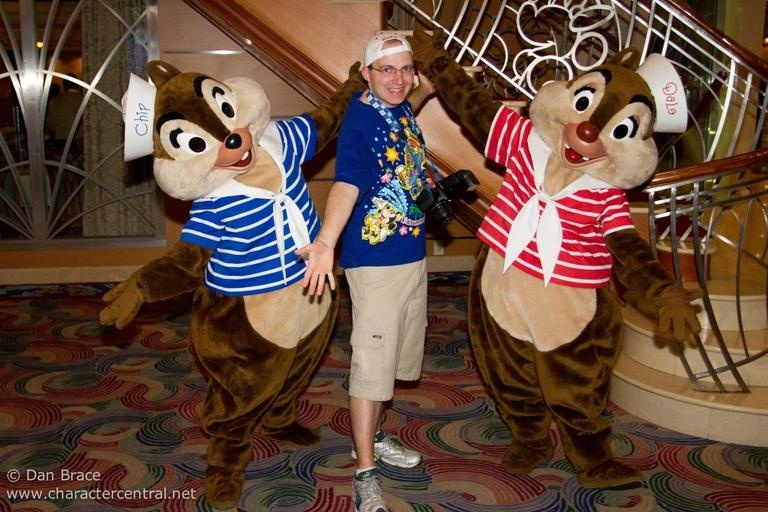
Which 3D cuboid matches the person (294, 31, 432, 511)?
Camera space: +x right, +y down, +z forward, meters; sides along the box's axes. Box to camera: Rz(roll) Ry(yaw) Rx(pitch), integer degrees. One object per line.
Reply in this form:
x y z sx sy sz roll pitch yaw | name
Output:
-0.035 0.080 2.686 0.450 2.247 0.657 5 11 10 | person

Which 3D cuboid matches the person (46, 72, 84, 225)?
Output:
-3.100 -1.070 5.554 0.361 1.343 0.230 6 11 15 | person

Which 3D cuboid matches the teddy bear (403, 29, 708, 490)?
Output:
0.839 0.080 2.803 1.313 2.110 0.338 8 12 27 | teddy bear

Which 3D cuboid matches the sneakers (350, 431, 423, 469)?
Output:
0.020 1.034 3.063 0.378 0.147 0.128 5 3 14 | sneakers

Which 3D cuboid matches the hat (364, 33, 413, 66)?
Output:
0.015 -0.985 2.720 0.169 0.109 0.207 -4 24 -3 | hat
